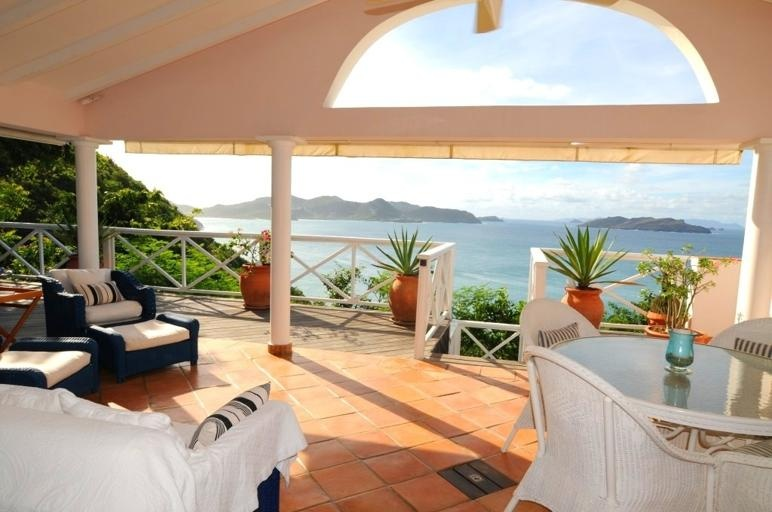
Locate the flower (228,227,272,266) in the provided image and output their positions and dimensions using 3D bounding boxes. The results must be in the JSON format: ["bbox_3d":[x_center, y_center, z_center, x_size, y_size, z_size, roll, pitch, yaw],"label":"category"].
[{"bbox_3d":[-1.989,-0.118,7.143,0.701,0.435,0.647,4,-6,-13],"label":"flower"}]

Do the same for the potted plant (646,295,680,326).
[{"bbox_3d":[3.155,0.620,5.553,0.322,0.311,0.350,-6,-17,32],"label":"potted plant"}]

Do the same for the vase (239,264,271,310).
[{"bbox_3d":[-1.844,0.455,6.891,0.383,0.652,0.232,-2,15,-16],"label":"vase"}]
